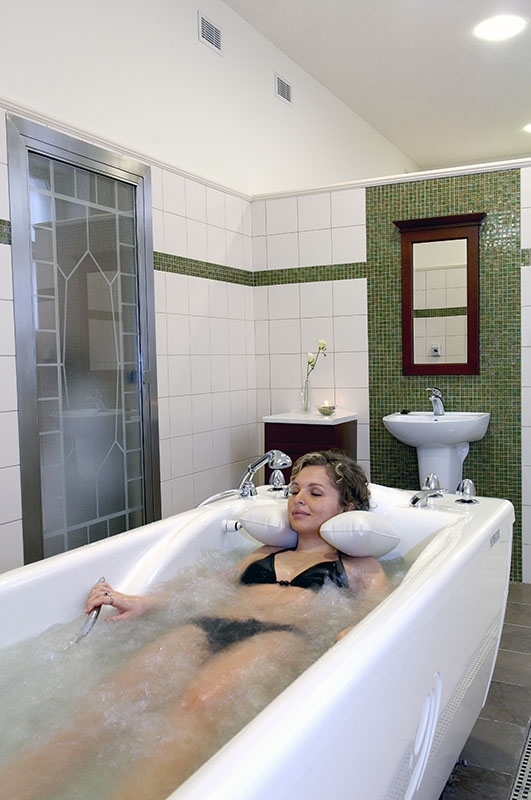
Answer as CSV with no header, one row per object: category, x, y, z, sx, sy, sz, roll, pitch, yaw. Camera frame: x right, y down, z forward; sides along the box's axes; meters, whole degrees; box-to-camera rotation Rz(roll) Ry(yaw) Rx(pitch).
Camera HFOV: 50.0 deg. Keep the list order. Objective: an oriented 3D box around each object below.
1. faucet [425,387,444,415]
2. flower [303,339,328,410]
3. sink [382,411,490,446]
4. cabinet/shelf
faucet,0.917,0.008,3.085,0.094,0.142,0.138,0,5,16
flower,0.295,-0.130,3.383,0.149,0.424,0.218,-1,5,1
sink,0.885,0.164,2.962,0.515,0.175,0.346,1,6,24
cabinet/shelf,0.195,0.303,3.286,0.404,0.422,0.316,2,11,9
